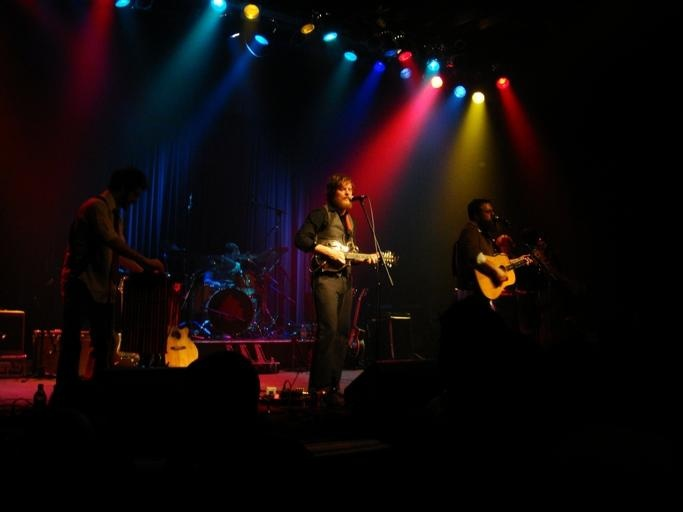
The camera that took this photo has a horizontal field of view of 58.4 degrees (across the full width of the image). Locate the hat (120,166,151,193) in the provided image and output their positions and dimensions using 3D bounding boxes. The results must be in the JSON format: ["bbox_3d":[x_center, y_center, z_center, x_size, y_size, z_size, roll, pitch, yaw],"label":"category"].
[{"bbox_3d":[-1.827,-0.692,5.424,0.243,0.276,0.193,0,-7,-37],"label":"hat"}]

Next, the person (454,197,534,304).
[{"bbox_3d":[1.589,-0.018,6.825,0.482,1.114,0.979,-13,-20,39],"label":"person"}]

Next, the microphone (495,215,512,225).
[{"bbox_3d":[2.140,-0.476,8.061,0.236,0.100,0.248,5,-4,33],"label":"microphone"}]

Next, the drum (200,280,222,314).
[{"bbox_3d":[-2.085,0.633,9.867,0.141,0.423,0.398,3,26,19],"label":"drum"}]

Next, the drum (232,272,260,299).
[{"bbox_3d":[-1.589,0.487,10.151,0.342,0.417,0.366,-1,-5,-7],"label":"drum"}]

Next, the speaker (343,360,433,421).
[{"bbox_3d":[0.367,0.931,4.330,0.504,0.399,0.389,1,-4,-22],"label":"speaker"}]
